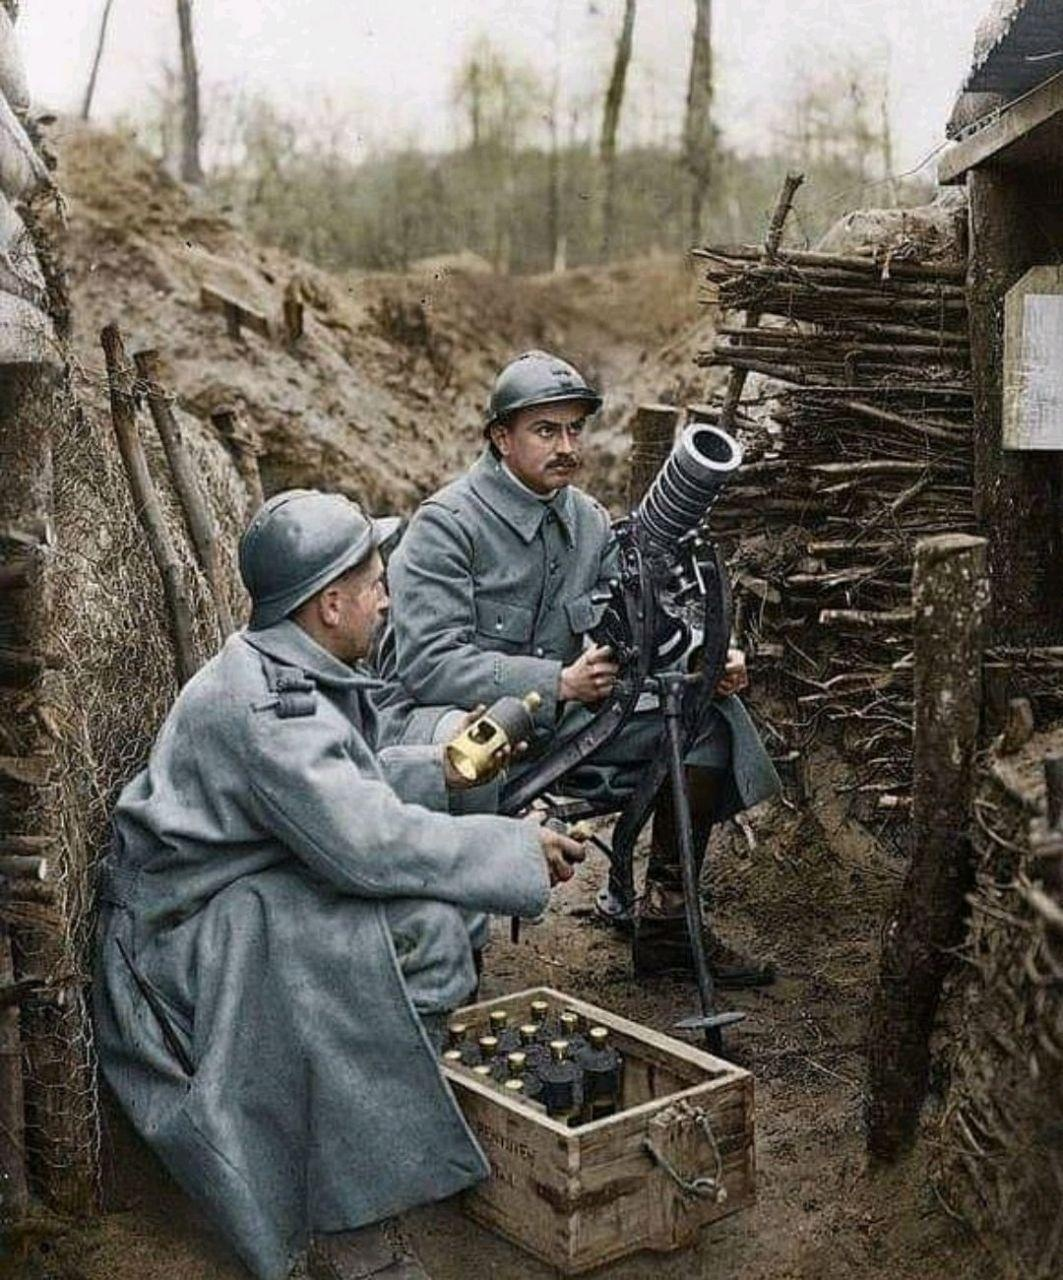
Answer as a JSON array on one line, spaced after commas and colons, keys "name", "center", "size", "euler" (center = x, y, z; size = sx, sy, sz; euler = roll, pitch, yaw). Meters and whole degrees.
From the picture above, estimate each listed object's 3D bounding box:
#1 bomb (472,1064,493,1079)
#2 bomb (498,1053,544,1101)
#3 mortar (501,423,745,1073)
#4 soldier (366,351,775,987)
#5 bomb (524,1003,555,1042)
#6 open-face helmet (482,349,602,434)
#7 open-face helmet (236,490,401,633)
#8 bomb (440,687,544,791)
[{"name": "bomb", "center": [-0.112, 1.049, 3.354], "size": [0.034, 0.027, 0.031], "euler": [-1, 6, -17]}, {"name": "bomb", "center": [-0.034, 1.065, 3.362], "size": [0.106, 0.092, 0.111], "euler": [-10, 15, -44]}, {"name": "mortar", "center": [0.419, 0.191, 4.332], "size": [1.060, 1.661, 1.064], "euler": [3, 14, 9]}, {"name": "soldier", "center": [0.244, -0.086, 4.734], "size": [1.168, 2.311, 1.089], "euler": [4, 5, 38]}, {"name": "bomb", "center": [0.020, 0.996, 3.585], "size": [0.086, 0.070, 0.082], "euler": [-1, 0, -11]}, {"name": "open-face helmet", "center": [-0.005, -0.847, 4.835], "size": [0.448, 0.269, 0.287], "euler": [-4, 8, -37]}, {"name": "open-face helmet", "center": [-0.575, -0.236, 3.452], "size": [0.408, 0.188, 0.301], "euler": [-34, 25, -4]}, {"name": "bomb", "center": [-0.092, 0.280, 3.941], "size": [0.142, 0.126, 0.369], "euler": [18, 33, 28]}]
